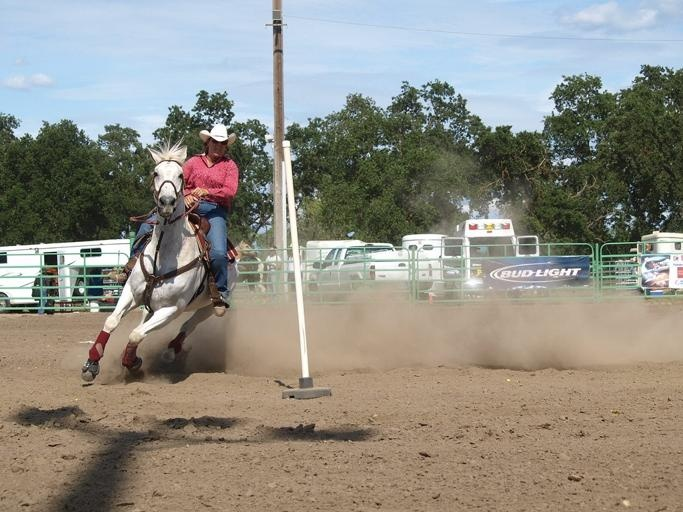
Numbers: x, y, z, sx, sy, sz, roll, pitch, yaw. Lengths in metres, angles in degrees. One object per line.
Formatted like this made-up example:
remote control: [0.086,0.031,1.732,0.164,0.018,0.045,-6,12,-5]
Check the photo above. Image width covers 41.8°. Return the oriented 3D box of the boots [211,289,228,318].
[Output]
boots: [-1.795,0.693,13.189,0.244,0.202,0.487,-10,36,-11]

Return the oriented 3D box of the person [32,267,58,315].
person: [-8.302,0.879,25.104,0.734,1.425,3.888,-3,7,-17]

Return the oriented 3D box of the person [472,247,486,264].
person: [3.912,0.009,25.379,0.454,0.426,0.807,0,-1,9]

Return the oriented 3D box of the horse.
horse: [-2.446,0.132,12.946,1.390,3.398,3.662,8,-1,10]
